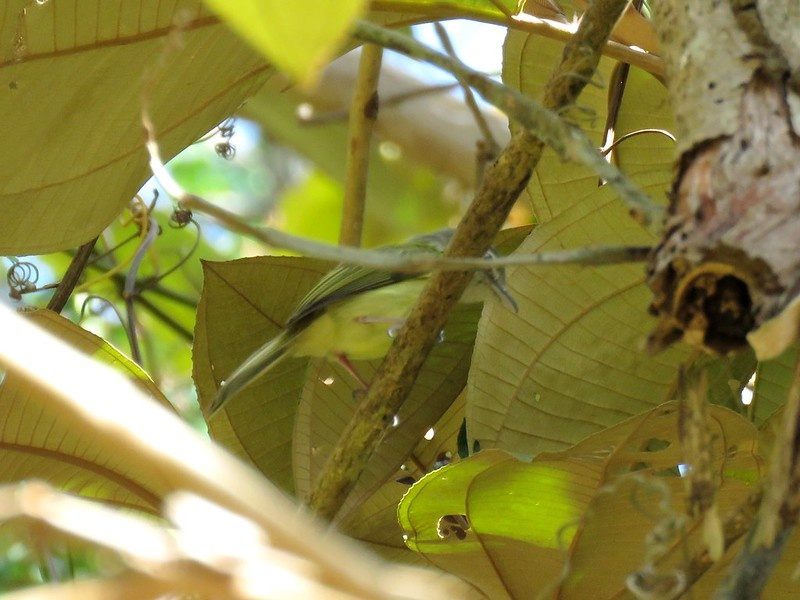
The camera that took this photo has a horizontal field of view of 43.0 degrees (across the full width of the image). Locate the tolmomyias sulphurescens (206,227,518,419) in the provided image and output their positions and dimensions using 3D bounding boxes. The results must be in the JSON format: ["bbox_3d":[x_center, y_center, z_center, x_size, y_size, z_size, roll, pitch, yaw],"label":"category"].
[{"bbox_3d":[-0.074,0.006,1.496,0.508,0.180,0.133,-15,-11,-18],"label":"tolmomyias sulphurescens"}]
